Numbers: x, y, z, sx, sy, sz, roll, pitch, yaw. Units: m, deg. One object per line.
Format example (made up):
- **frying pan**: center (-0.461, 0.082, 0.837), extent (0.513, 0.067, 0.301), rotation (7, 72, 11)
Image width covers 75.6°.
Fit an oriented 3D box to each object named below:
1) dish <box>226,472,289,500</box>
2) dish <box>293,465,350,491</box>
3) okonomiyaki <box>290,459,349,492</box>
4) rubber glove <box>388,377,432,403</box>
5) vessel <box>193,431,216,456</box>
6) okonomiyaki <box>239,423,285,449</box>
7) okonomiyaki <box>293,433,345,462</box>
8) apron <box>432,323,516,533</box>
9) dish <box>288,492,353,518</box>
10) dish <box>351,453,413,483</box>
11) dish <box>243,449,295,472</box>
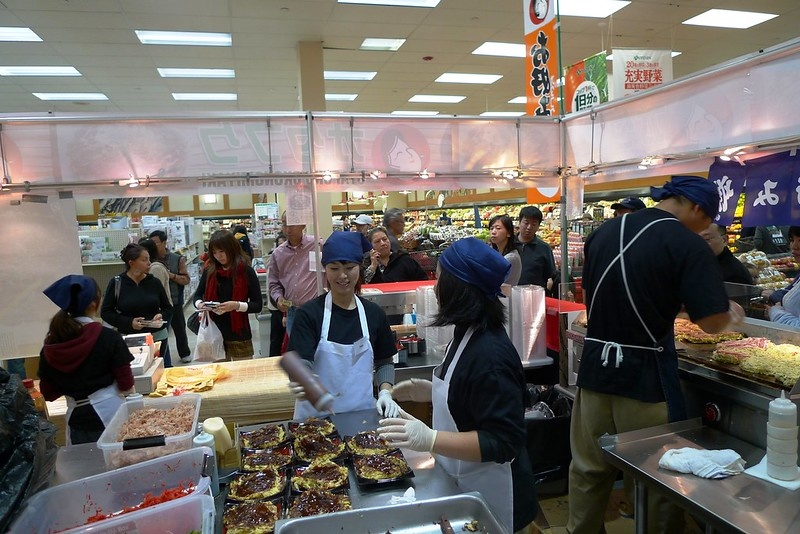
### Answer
- **dish**: center (-0.767, 1.161, 2.730), extent (0.178, 0.030, 0.138), rotation (-4, 13, 0)
- **dish**: center (-0.424, 1.128, 2.759), extent (0.196, 0.044, 0.140), rotation (-2, 18, -7)
- **okonomiyaki**: center (-0.435, 1.119, 2.765), extent (0.197, 0.056, 0.151), rotation (-1, 16, -10)
- **rubber glove**: center (0.066, 0.770, 3.189), extent (0.244, 0.188, 0.188), rotation (-5, 9, -3)
- **vessel**: center (-1.061, 0.941, 2.774), extent (0.103, 0.155, 0.100), rotation (-7, -6, 40)
- **okonomiyaki**: center (-0.823, 1.022, 3.087), extent (0.275, 0.060, 0.218), rotation (-7, 10, -21)
- **okonomiyaki**: center (-0.472, 1.036, 2.958), extent (0.188, 0.043, 0.147), rotation (1, 12, -15)
- **apron**: center (0.360, 0.885, 2.838), extent (0.481, 1.058, 0.422), rotation (0, 12, -1)
- **dish**: center (-0.412, 1.193, 2.611), extent (0.329, 0.066, 0.162), rotation (-4, 9, 1)
- **dish**: center (-0.097, 1.096, 2.802), extent (0.314, 0.078, 0.182), rotation (-4, 9, 0)
- **dish**: center (-0.766, 1.088, 2.897), extent (0.158, 0.031, 0.123), rotation (-3, 10, 0)
